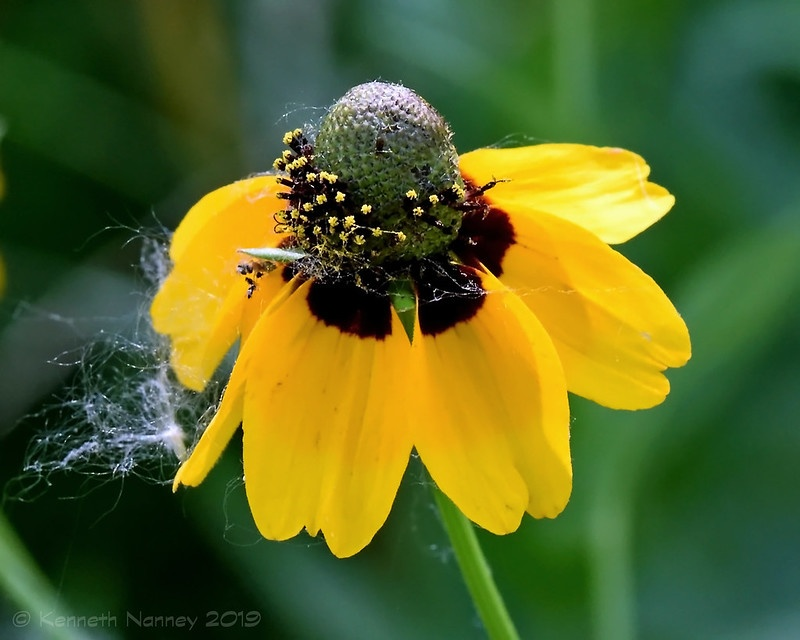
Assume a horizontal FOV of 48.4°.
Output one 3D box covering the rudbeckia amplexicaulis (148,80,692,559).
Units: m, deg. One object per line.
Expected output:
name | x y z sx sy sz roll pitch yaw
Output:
rudbeckia amplexicaulis | 0.015 -0.096 1.761 1.069 0.630 1.146 1 17 39
